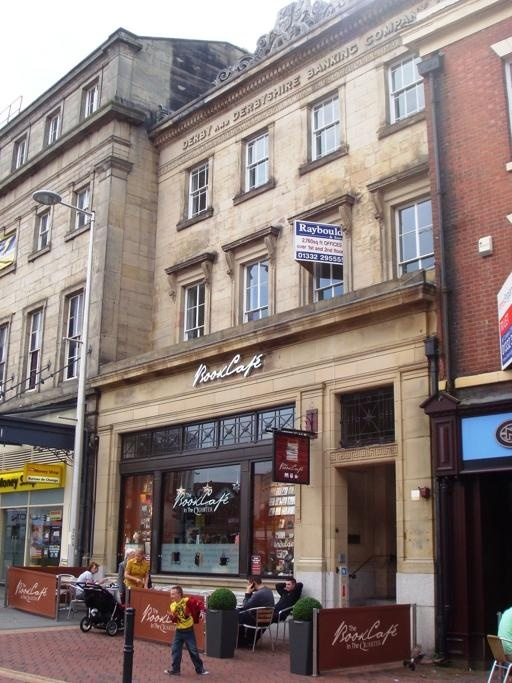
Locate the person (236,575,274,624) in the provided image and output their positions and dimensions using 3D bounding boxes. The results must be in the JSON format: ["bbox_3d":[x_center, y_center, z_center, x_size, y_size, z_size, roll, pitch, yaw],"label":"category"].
[{"bbox_3d":[0.002,4.352,11.483,0.615,0.751,0.892,5,-16,-19],"label":"person"}]

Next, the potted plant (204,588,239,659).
[{"bbox_3d":[-0.538,4.408,10.725,0.510,1.006,0.543,0,-16,-3],"label":"potted plant"}]

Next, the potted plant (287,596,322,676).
[{"bbox_3d":[0.650,4.017,9.359,0.443,0.926,0.315,-5,-16,14],"label":"potted plant"}]

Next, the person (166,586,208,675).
[{"bbox_3d":[-0.918,3.865,9.186,0.538,1.102,0.732,0,-16,-5],"label":"person"}]

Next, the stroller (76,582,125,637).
[{"bbox_3d":[-2.959,5.039,12.890,0.842,0.907,1.091,-5,-12,23],"label":"stroller"}]
